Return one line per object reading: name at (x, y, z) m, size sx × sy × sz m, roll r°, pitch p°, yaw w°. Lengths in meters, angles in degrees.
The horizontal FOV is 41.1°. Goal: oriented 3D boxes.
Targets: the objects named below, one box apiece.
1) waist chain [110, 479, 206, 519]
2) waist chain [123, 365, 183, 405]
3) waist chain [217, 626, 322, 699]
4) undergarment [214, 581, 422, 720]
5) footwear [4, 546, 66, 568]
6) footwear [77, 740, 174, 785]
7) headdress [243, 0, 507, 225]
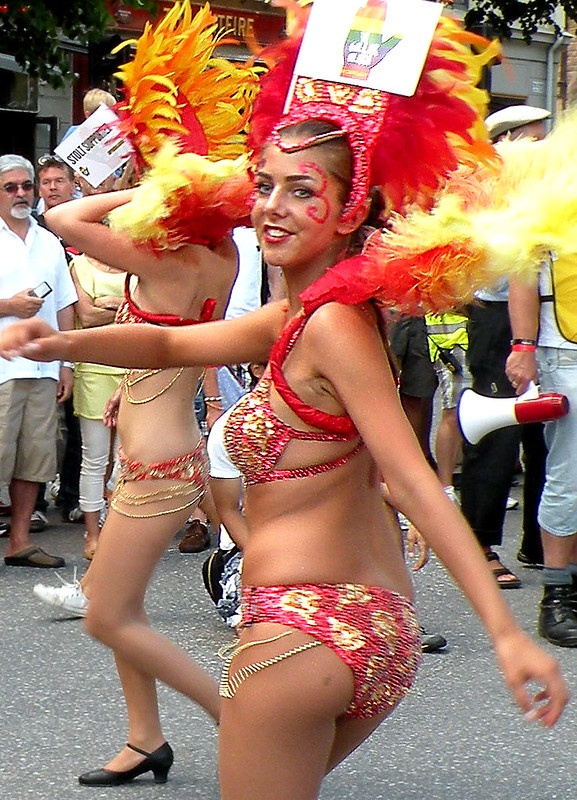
waist chain at (-0.412, 0.317, 2.436) m, size 0.198 × 0.064 × 0.137 m, roll -4°, pitch 0°, yaw -11°
waist chain at (-0.441, -0.030, 2.487) m, size 0.158 × 0.041 × 0.135 m, roll -21°, pitch 26°, yaw 7°
waist chain at (-0.042, 0.387, 1.178) m, size 0.184 × 0.095 × 0.039 m, roll -29°, pitch 29°, yaw 22°
undergarment at (0.066, 0.382, 1.235) m, size 0.263 × 0.167 × 0.276 m, roll 5°, pitch -12°, yaw -42°
footwear at (-1.700, 1.069, 5.232) m, size 0.431 × 0.130 × 0.138 m, roll 0°, pitch -6°, yaw 4°
footwear at (-0.510, 1.224, 2.627) m, size 0.427 × 0.156 × 0.122 m, roll 0°, pitch -8°, yaw -2°
headdress at (0.177, -0.480, 1.426) m, size 0.527 × 0.450 × 0.136 m, roll 13°, pitch -10°, yaw -7°
